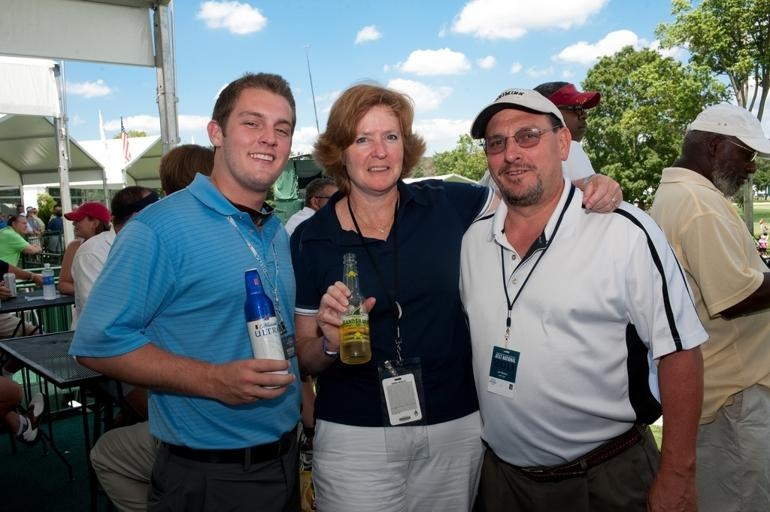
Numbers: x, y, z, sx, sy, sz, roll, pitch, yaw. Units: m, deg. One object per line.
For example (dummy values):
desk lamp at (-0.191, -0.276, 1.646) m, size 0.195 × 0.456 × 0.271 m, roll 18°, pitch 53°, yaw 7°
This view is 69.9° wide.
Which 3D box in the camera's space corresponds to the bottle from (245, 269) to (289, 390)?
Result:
bottle at (-0.591, 0.288, 2.695) m, size 0.177 × 0.448 × 0.155 m, roll -4°, pitch 6°, yaw -12°

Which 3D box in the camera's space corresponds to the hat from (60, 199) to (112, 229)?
hat at (-3.597, -0.531, 6.692) m, size 0.510 × 0.265 × 0.321 m, roll 5°, pitch -3°, yaw -20°

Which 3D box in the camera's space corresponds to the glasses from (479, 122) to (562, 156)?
glasses at (0.738, -0.649, 3.063) m, size 0.375 × 0.147 × 0.095 m, roll -1°, pitch 6°, yaw 13°

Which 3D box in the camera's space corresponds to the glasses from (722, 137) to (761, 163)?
glasses at (2.388, -0.724, 3.728) m, size 0.175 × 0.054 × 0.176 m, roll 0°, pitch 37°, yaw -42°

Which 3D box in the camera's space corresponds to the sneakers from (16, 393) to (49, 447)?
sneakers at (-3.303, 1.533, 5.140) m, size 0.163 × 0.462 × 0.198 m, roll -6°, pitch -31°, yaw 11°

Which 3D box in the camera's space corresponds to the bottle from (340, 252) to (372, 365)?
bottle at (-0.169, 0.276, 3.027) m, size 0.160 × 0.573 × 0.333 m, roll -3°, pitch 6°, yaw -2°
